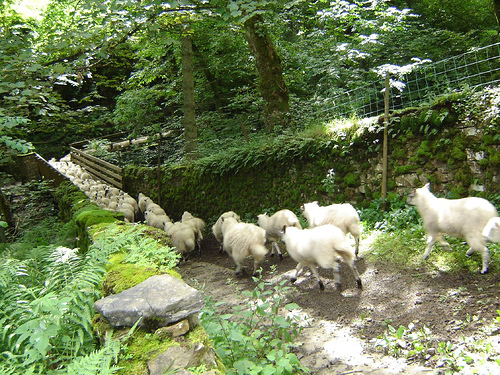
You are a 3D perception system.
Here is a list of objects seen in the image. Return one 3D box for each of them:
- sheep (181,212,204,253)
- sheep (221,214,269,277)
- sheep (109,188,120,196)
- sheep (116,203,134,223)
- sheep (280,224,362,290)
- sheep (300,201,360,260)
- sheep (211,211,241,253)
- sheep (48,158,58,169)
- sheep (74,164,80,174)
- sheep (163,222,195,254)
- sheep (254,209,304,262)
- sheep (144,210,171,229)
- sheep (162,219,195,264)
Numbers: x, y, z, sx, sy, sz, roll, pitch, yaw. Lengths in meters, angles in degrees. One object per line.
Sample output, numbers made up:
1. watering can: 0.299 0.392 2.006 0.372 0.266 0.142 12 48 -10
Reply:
1. sheep: -1.590 1.144 11.468 0.377 0.691 1.196 -23 30 -7
2. sheep: -0.118 1.328 8.843 0.718 1.175 1.589 -12 13 -17
3. sheep: -5.454 0.145 16.344 0.427 0.232 0.319 11 14 -42
4. sheep: -4.147 0.905 13.453 0.504 0.554 0.941 -13 13 -18
5. sheep: 1.146 1.202 7.022 0.567 1.117 1.667 1 -10 -39
6. sheep: 1.632 0.801 8.103 1.399 0.947 0.589 -6 -1 39
7. sheep: -0.512 1.066 10.517 0.537 0.880 1.253 -2 4 1
8. sheep: -10.081 -1.220 20.613 0.195 0.149 1.170 -36 39 -24
9. sheep: -8.949 -0.991 20.776 0.449 0.441 0.175 -19 -24 23
10. sheep: -1.831 1.439 10.899 0.659 0.864 1.430 -6 15 -23
11. sheep: 0.662 1.090 9.162 0.457 0.803 1.450 -2 -12 -25
12. sheep: -2.796 1.034 12.188 0.374 0.443 0.916 -29 34 -31
13. sheep: -1.933 1.436 10.808 0.594 0.900 1.332 -7 15 -40
